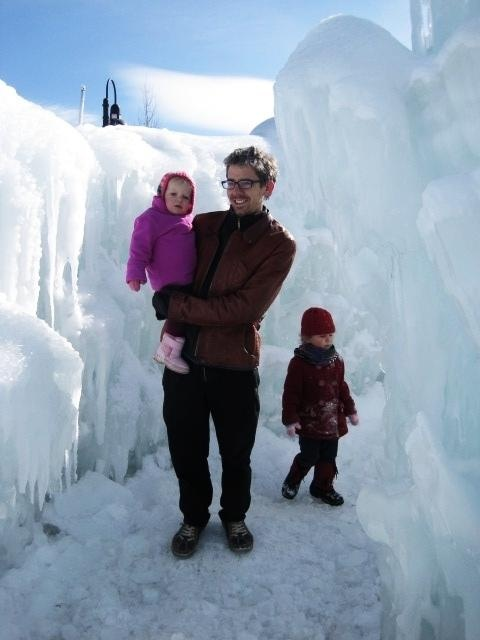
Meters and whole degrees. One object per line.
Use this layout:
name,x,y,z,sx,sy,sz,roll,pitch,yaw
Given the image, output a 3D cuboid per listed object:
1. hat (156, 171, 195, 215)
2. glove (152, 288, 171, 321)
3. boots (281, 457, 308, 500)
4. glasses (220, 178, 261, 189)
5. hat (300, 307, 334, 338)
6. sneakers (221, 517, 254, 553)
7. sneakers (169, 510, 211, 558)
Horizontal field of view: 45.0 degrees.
hat,-0.285,-0.530,2.467,0.135,0.187,0.187,10,-12,-12
glove,-0.344,-0.068,2.348,0.081,0.115,0.117,7,3,-12
boots,0.313,0.889,3.218,0.068,0.209,0.145,29,-41,-8
glasses,-0.015,-0.563,2.383,0.189,0.045,0.087,11,11,38
hat,0.420,0.010,3.154,0.157,0.135,0.162,-6,10,-28
sneakers,-0.005,0.955,2.549,0.066,0.087,0.197,2,-10,-17
sneakers,-0.226,0.970,2.567,0.084,0.103,0.237,14,-11,9
